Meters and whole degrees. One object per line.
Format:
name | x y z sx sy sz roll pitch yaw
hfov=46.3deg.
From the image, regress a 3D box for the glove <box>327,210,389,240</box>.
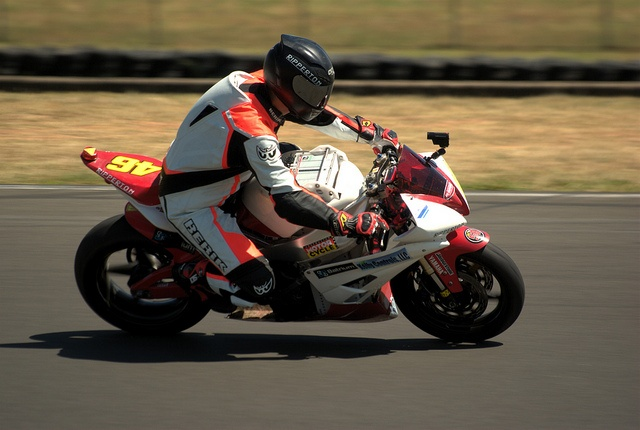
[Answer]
glove | 0.323 0.078 6.013 0.447 0.198 0.201 1 39 1
